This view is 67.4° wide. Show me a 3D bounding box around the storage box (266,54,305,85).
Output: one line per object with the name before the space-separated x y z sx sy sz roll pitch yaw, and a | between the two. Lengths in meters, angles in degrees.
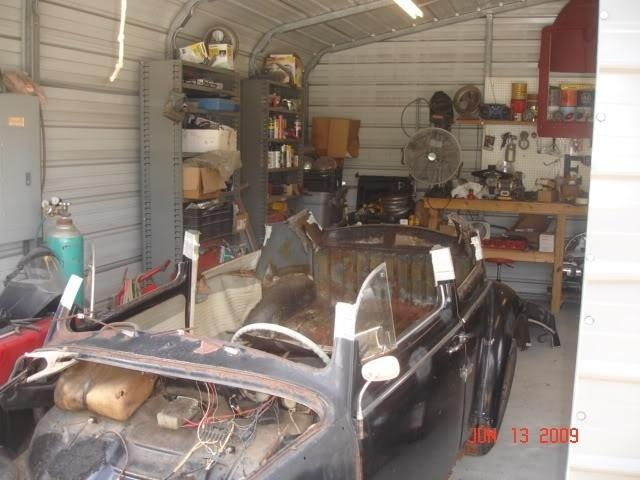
storage box | -0.490 -2.449 6.976 0.514 0.458 0.554 8 20 25

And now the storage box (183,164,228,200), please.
storage box | -1.234 -0.559 5.073 0.302 0.274 0.403 -1 1 30

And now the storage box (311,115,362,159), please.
storage box | 0.261 -1.671 7.730 0.959 0.817 0.598 1 -1 -4

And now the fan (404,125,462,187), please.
fan | 1.625 -0.884 6.764 0.730 0.796 0.768 5 -25 1

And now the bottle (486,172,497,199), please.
bottle | 2.399 -0.763 6.699 0.146 0.348 0.222 1 10 13

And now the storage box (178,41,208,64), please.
storage box | -1.343 -1.991 5.144 0.330 0.269 0.122 -7 12 0

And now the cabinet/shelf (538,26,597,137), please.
cabinet/shelf | 3.276 -2.187 6.485 0.872 1.627 0.362 3 4 15

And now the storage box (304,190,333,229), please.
storage box | -0.032 -0.437 7.124 0.471 0.642 0.469 -1 -5 -20
